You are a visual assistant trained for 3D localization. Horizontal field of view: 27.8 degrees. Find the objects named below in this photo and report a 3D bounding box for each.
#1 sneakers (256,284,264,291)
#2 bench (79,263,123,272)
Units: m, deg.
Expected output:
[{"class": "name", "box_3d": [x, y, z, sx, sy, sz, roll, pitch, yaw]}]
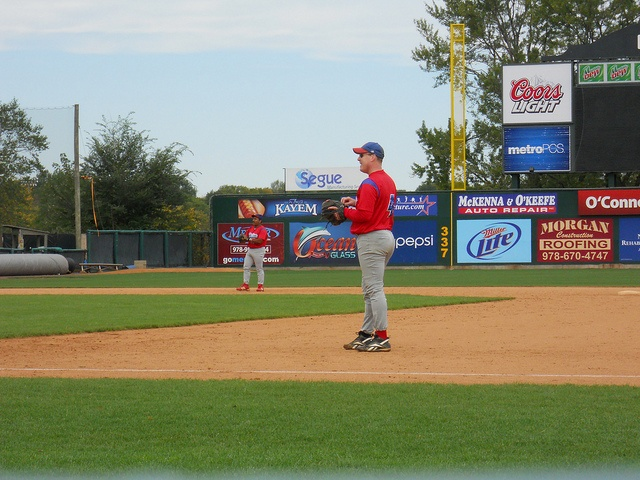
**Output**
[{"class": "sneakers", "box_3d": [-2.116, 1.762, 46.824, 0.123, 0.236, 0.361, -1, -8, 7]}, {"class": "bench", "box_3d": [-10.463, 1.304, 61.928, 1.265, 0.316, 2.597, -2, -1, 37]}]
